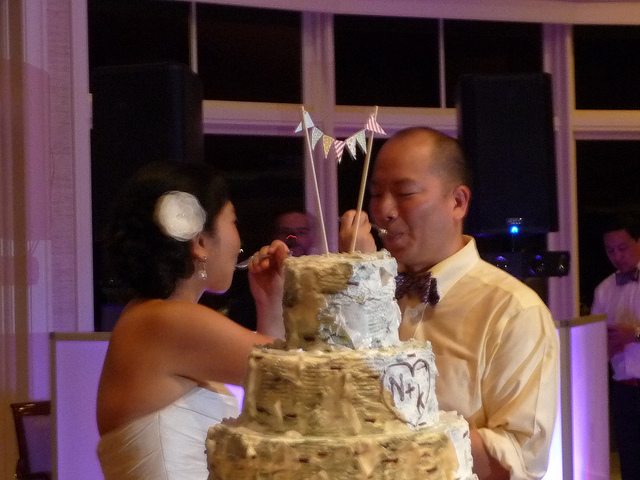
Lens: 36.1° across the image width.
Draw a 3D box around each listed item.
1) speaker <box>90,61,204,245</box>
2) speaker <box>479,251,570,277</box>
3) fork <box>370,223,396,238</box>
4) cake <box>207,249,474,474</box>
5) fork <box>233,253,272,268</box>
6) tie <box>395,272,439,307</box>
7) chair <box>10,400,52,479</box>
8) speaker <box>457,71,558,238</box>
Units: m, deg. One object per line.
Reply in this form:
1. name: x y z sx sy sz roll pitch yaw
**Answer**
1. speaker: -1.099 -0.458 6.424 0.666 1.368 0.679 3 36 5
2. speaker: 1.369 0.165 6.631 0.639 0.180 0.153 0 -3 -15
3. fork: 0.329 -0.049 5.116 0.165 0.024 0.025 33 -52 -9
4. cake: 0.146 0.585 4.598 0.944 0.947 1.004 -2 -4 15
5. fork: -0.375 0.112 5.191 0.119 0.030 0.091 -33 9 -17
6. tie: 0.500 0.252 5.039 0.060 0.191 0.184 -6 -24 -38
7. chair: -1.756 1.246 6.070 0.298 0.470 0.145 -2 -3 17
8. speaker: 1.334 -0.446 6.856 0.664 1.204 0.661 -5 -27 17
